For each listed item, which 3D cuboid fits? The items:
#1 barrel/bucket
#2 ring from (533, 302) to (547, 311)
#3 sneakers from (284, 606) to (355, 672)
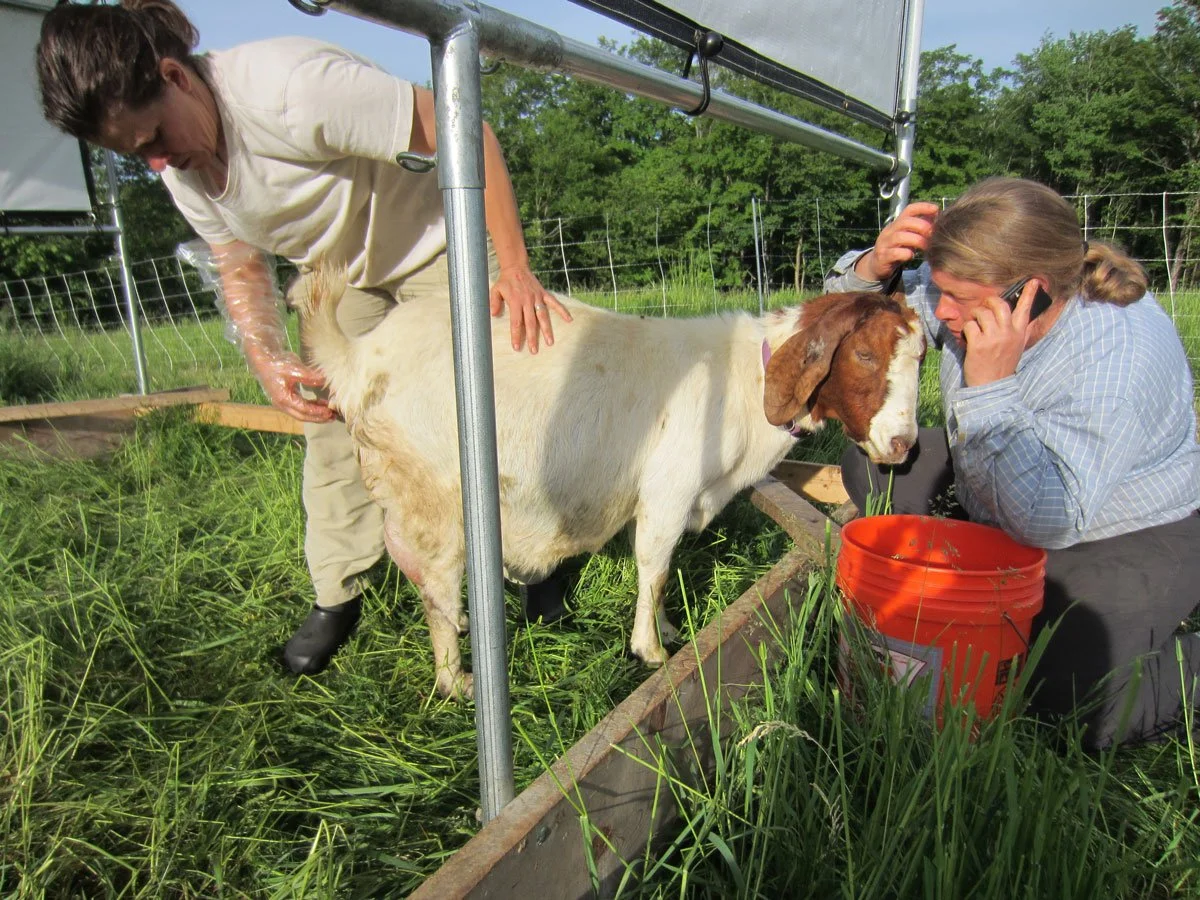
[{"bbox_3d":[1.225,0.598,3.136,0.643,0.599,0.668,-3,11,1],"label":"barrel/bucket"},{"bbox_3d":[-0.179,-0.437,2.673,0.056,0.025,0.023,-12,20,-41],"label":"ring"},{"bbox_3d":[-1.133,0.762,3.603,0.131,0.140,0.341,16,30,9],"label":"sneakers"}]
